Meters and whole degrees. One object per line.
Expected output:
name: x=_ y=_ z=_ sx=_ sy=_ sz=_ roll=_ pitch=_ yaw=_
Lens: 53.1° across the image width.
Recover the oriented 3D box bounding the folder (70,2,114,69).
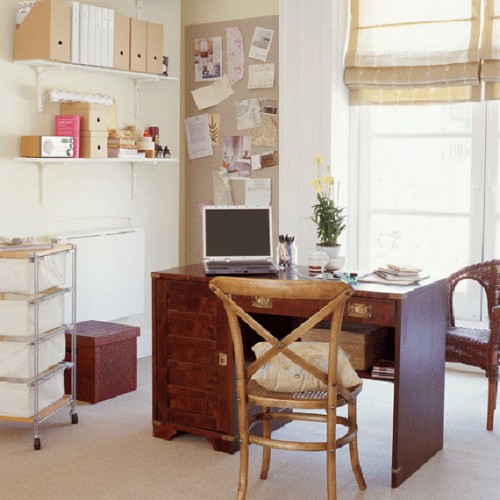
folder: x=-0.888 y=-1.237 z=2.913 sx=0.060 sy=0.360 sz=0.297 roll=1 pitch=2 yaw=37

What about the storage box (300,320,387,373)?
storage box: x=0.422 y=0.345 z=2.016 sx=0.228 sy=0.123 sz=0.171 roll=3 pitch=1 yaw=36

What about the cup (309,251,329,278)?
cup: x=0.283 y=0.067 z=2.170 sx=0.106 sy=0.117 sz=0.069 roll=2 pitch=0 yaw=32

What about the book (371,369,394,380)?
book: x=0.500 y=0.468 z=1.903 sx=0.089 sy=0.036 sz=0.070 roll=1 pitch=2 yaw=27

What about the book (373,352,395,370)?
book: x=0.530 y=0.446 z=2.012 sx=0.079 sy=0.021 sz=0.083 roll=-2 pitch=4 yaw=13

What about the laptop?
laptop: x=-0.042 y=-0.046 z=2.280 sx=0.369 sy=0.378 sz=0.286 roll=0 pitch=-1 yaw=-10

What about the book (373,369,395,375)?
book: x=0.506 y=0.460 z=1.894 sx=0.046 sy=0.012 sz=0.048 roll=-2 pitch=-2 yaw=10

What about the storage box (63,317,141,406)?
storage box: x=-0.839 y=0.630 z=2.967 sx=0.377 sy=0.403 sz=0.386 roll=1 pitch=1 yaw=33

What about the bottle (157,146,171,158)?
bottle: x=-0.597 y=-0.705 z=3.594 sx=0.066 sy=0.071 sz=0.095 roll=1 pitch=2 yaw=10

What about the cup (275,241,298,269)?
cup: x=0.164 y=0.029 z=2.379 sx=0.102 sy=0.128 sz=0.107 roll=0 pitch=-1 yaw=0

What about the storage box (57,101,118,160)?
storage box: x=-0.973 y=-0.717 z=3.002 sx=0.266 sy=0.353 sz=0.183 roll=-1 pitch=2 yaw=-25
